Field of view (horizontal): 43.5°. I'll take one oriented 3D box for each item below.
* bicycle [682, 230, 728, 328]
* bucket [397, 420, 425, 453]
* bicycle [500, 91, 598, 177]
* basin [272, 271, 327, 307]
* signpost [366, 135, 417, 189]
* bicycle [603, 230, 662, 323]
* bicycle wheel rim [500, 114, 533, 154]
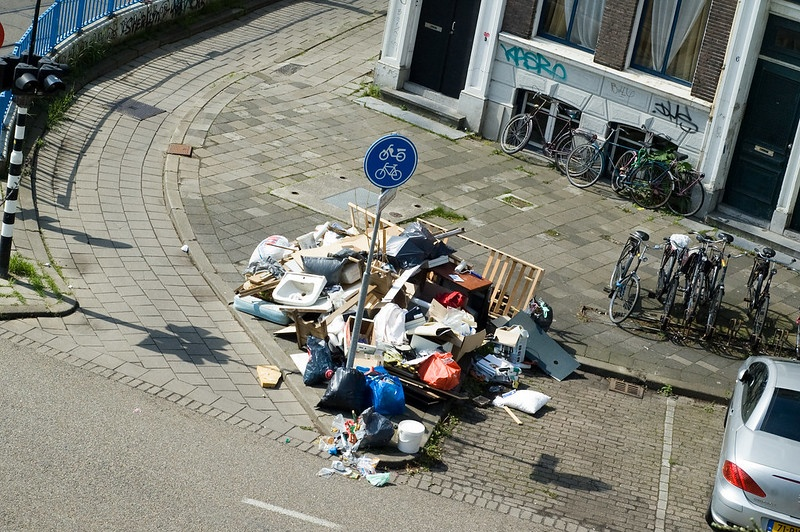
[{"bbox_3d":[6.143,0.221,19.659,1.124,1.786,2.996,-2,-5,10],"label":"bicycle"},{"bbox_3d":[0.165,2.637,15.807,0.454,0.349,0.471,11,13,-3],"label":"bucket"},{"bbox_3d":[3.738,-3.330,24.858,2.749,1.581,1.364,36,20,31],"label":"bicycle"},{"bbox_3d":[-1.779,0.414,17.414,0.721,0.229,0.632,9,50,22],"label":"basin"},{"bbox_3d":[-0.148,-1.650,15.805,0.979,0.894,0.062,0,19,-32],"label":"signpost"},{"bbox_3d":[4.388,0.217,19.502,0.930,1.121,1.849,28,24,-6],"label":"bicycle"},{"bbox_3d":[2.872,-3.258,24.636,0.085,0.747,0.746,13,37,-51],"label":"bicycle wheel rim"}]
